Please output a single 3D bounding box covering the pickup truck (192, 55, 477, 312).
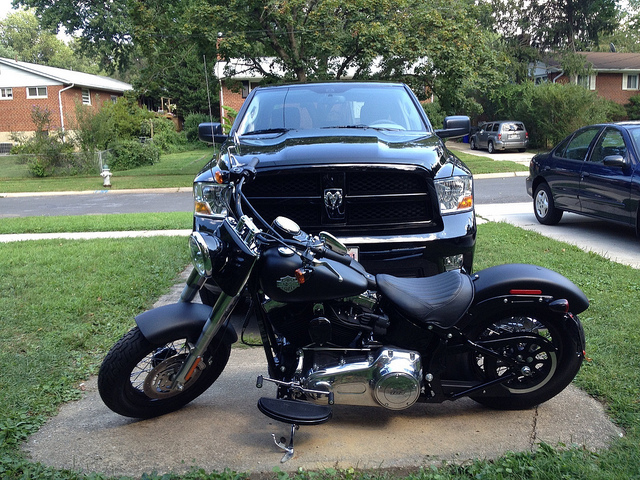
[{"bbox_3d":[0.210,-0.780,7.229,2.783,2.804,5.721,-1,11,2],"label":"pickup truck"}]

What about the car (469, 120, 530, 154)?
[{"bbox_3d":[9.381,-5.542,27.445,1.517,1.194,2.896,-2,17,-10],"label":"car"}]

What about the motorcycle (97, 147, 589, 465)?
[{"bbox_3d":[0.134,0.398,3.669,3.331,1.822,1.336,-3,25,0],"label":"motorcycle"}]
